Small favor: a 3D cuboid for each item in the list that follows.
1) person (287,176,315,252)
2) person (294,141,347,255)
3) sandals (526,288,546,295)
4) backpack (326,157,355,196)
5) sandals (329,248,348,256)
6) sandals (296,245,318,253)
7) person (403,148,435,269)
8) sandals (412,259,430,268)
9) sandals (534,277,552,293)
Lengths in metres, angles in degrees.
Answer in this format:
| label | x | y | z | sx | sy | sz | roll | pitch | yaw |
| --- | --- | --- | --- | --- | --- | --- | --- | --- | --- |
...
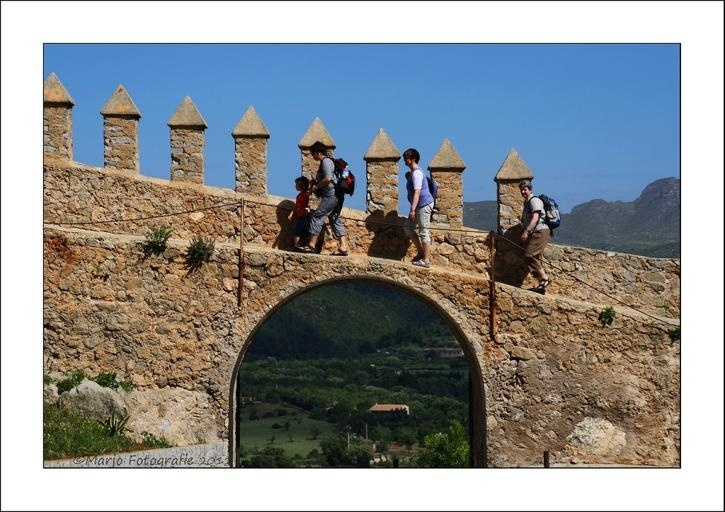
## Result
| label | x | y | z | sx | sy | sz | roll | pitch | yaw |
| --- | --- | --- | --- | --- | --- | --- | --- | --- | --- |
| person | -1.290 | -0.800 | 26.110 | 0.355 | 1.399 | 1.373 | 5 | -8 | -6 |
| person | -0.863 | -1.257 | 26.536 | 1.105 | 2.405 | 0.793 | 5 | -11 | -23 |
| sandals | 3.634 | 0.685 | 26.467 | 0.458 | 0.186 | 0.146 | 6 | -2 | 9 |
| backpack | -0.431 | -1.690 | 25.944 | 0.471 | 0.767 | 1.029 | 2 | 1 | -2 |
| sandals | -0.531 | -0.128 | 26.492 | 0.395 | 0.160 | 0.141 | 7 | 2 | 35 |
| sandals | -1.187 | -0.174 | 26.488 | 0.442 | 0.178 | 0.158 | 10 | -4 | 5 |
| person | 1.158 | -1.028 | 26.385 | 0.649 | 2.486 | 0.449 | 2 | 0 | -3 |
| sandals | 1.246 | 0.110 | 26.375 | 0.410 | 0.190 | 0.153 | 9 | 8 | 8 |
| sandals | 3.819 | 0.583 | 26.459 | 0.217 | 0.189 | 0.516 | 25 | -41 | -15 |
